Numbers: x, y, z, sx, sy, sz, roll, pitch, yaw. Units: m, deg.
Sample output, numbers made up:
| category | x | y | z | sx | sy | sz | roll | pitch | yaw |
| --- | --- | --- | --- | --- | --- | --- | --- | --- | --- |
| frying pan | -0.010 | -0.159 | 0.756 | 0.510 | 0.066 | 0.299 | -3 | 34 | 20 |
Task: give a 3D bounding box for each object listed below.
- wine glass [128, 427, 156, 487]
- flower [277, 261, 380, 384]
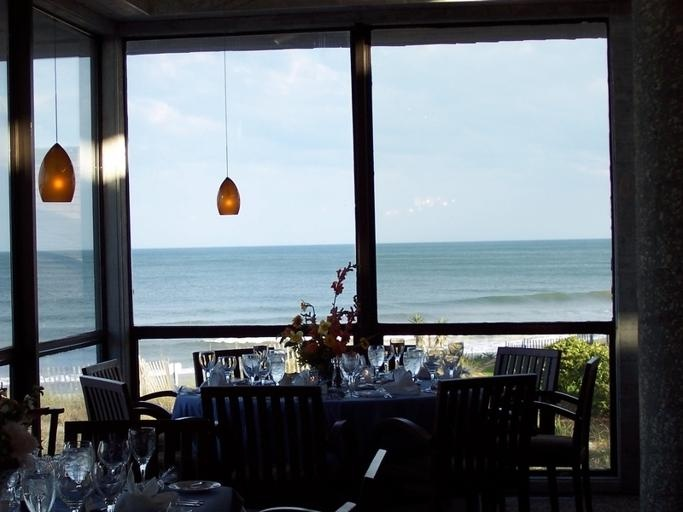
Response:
| category | x | y | z | sx | sy | sz | roll | pitch | yaw |
| --- | --- | --- | --- | --- | --- | --- | --- | --- | --- |
| wine glass | -0.950 | 0.947 | 4.143 | 0.121 | 0.258 | 0.165 | -1 | -4 | -14 |
| flower | 0.007 | 0.461 | 6.142 | 0.707 | 1.083 | 0.693 | 1 | 5 | -22 |
